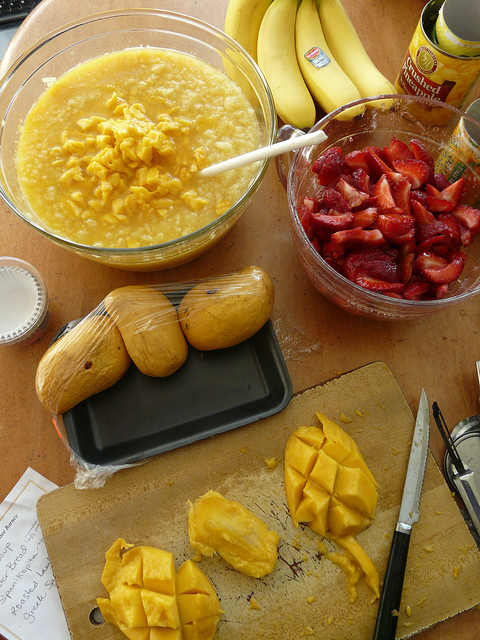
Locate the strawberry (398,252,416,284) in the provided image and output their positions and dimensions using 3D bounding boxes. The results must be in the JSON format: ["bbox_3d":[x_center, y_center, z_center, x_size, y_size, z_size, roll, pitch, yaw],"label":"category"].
[{"bbox_3d":[0.292,-0.090,1.117,0.016,0.043,0.047,15,84,-14],"label":"strawberry"}]

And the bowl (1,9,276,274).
[{"bbox_3d":[-0.191,-0.304,1.192,0.507,0.208,0.473,0,77,-1],"label":"bowl"}]

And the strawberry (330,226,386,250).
[{"bbox_3d":[0.205,-0.142,1.098,0.082,0.029,0.038,-1,99,3],"label":"strawberry"}]

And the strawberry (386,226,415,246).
[{"bbox_3d":[0.280,-0.145,1.094,0.035,0.028,0.019,-7,108,5],"label":"strawberry"}]

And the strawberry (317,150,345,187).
[{"bbox_3d":[0.165,-0.269,1.131,0.035,0.043,0.057,45,85,2],"label":"strawberry"}]

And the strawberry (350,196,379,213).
[{"bbox_3d":[0.219,-0.202,1.120,0.038,0.029,0.009,-33,114,8],"label":"strawberry"}]

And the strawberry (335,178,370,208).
[{"bbox_3d":[0.194,-0.222,1.117,0.052,0.018,0.052,-5,53,-28],"label":"strawberry"}]

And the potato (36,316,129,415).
[{"bbox_3d":[-0.274,0.076,1.090,0.179,0.079,0.097,-39,72,-12],"label":"potato"}]

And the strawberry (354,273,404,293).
[{"bbox_3d":[0.233,-0.061,1.087,0.059,0.013,0.042,-4,27,-4],"label":"strawberry"}]

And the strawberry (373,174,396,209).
[{"bbox_3d":[0.252,-0.218,1.111,0.042,0.019,0.057,-4,78,-5],"label":"strawberry"}]

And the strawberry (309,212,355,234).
[{"bbox_3d":[0.163,-0.169,1.101,0.050,0.013,0.047,-21,38,-22],"label":"strawberry"}]

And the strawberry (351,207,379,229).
[{"bbox_3d":[0.219,-0.174,1.115,0.043,0.012,0.033,-37,64,5],"label":"strawberry"}]

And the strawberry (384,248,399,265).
[{"bbox_3d":[0.267,-0.111,1.120,0.027,0.009,0.024,1,70,-21],"label":"strawberry"}]

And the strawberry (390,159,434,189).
[{"bbox_3d":[0.310,-0.261,1.139,0.063,0.017,0.047,22,80,12],"label":"strawberry"}]

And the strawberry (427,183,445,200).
[{"bbox_3d":[0.351,-0.230,1.150,0.031,0.019,0.022,20,38,8],"label":"strawberry"}]

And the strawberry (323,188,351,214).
[{"bbox_3d":[0.169,-0.207,1.108,0.031,0.012,0.050,-41,90,1],"label":"strawberry"}]

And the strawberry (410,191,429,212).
[{"bbox_3d":[0.317,-0.212,1.144,0.033,0.020,0.025,28,43,22],"label":"strawberry"}]

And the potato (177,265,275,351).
[{"bbox_3d":[-0.025,-0.018,1.136,0.175,0.105,0.116,-17,69,-4],"label":"potato"}]

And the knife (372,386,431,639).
[{"bbox_3d":[0.292,0.326,1.093,0.041,0.027,0.424,15,70,8],"label":"knife"}]

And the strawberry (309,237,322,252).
[{"bbox_3d":[0.136,-0.135,1.135,0.026,0.007,0.022,-12,80,-45],"label":"strawberry"}]

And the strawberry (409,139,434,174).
[{"bbox_3d":[0.323,-0.310,1.194,0.067,0.022,0.042,47,55,-6],"label":"strawberry"}]

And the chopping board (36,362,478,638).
[{"bbox_3d":[0.040,0.335,1.102,0.643,0.021,0.409,-18,73,-7],"label":"chopping board"}]

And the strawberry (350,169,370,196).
[{"bbox_3d":[0.216,-0.245,1.133,0.035,0.017,0.044,-34,69,20],"label":"strawberry"}]

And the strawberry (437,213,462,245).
[{"bbox_3d":[0.371,-0.159,1.118,0.044,0.013,0.053,-6,78,-1],"label":"strawberry"}]

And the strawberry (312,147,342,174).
[{"bbox_3d":[0.165,-0.281,1.163,0.016,0.035,0.063,38,87,-29],"label":"strawberry"}]

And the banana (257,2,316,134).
[{"bbox_3d":[0.085,-0.499,1.258,0.088,0.087,0.250,-9,68,-1],"label":"banana"}]

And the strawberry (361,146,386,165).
[{"bbox_3d":[0.249,-0.302,1.180,0.039,0.044,0.024,34,107,3],"label":"strawberry"}]

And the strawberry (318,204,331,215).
[{"bbox_3d":[0.151,-0.196,1.137,0.014,0.006,0.021,6,66,35],"label":"strawberry"}]

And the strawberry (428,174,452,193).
[{"bbox_3d":[0.366,-0.247,1.148,0.029,0.037,0.020,2,96,3],"label":"strawberry"}]

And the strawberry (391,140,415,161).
[{"bbox_3d":[0.297,-0.310,1.162,0.040,0.013,0.041,-2,68,2],"label":"strawberry"}]

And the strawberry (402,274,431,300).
[{"bbox_3d":[0.304,-0.056,1.118,0.049,0.022,0.046,19,72,15],"label":"strawberry"}]
